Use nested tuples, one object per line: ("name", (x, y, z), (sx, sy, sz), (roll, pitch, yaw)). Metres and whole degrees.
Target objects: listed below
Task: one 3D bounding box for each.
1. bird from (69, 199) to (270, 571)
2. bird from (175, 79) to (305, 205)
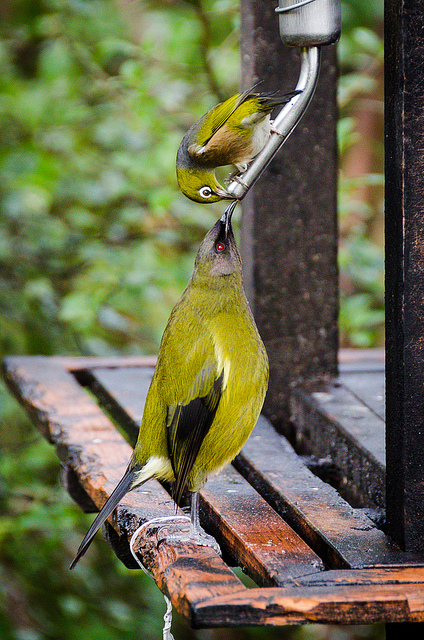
("bird", (-0.059, 0.168, 1.538), (0.323, 0.659, 0.618), (3, 50, 14))
("bird", (0.006, -0.294, 1.552), (0.127, 0.382, 0.167), (45, 62, 6))
